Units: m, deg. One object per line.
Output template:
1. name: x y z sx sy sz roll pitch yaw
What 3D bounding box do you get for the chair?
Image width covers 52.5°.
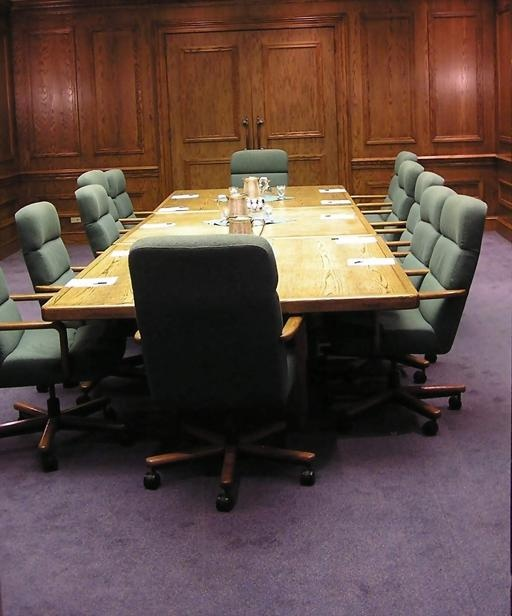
1. chair: -0.145 -0.173 3.224 2.300 1.179 3.363 -5 9 -13
